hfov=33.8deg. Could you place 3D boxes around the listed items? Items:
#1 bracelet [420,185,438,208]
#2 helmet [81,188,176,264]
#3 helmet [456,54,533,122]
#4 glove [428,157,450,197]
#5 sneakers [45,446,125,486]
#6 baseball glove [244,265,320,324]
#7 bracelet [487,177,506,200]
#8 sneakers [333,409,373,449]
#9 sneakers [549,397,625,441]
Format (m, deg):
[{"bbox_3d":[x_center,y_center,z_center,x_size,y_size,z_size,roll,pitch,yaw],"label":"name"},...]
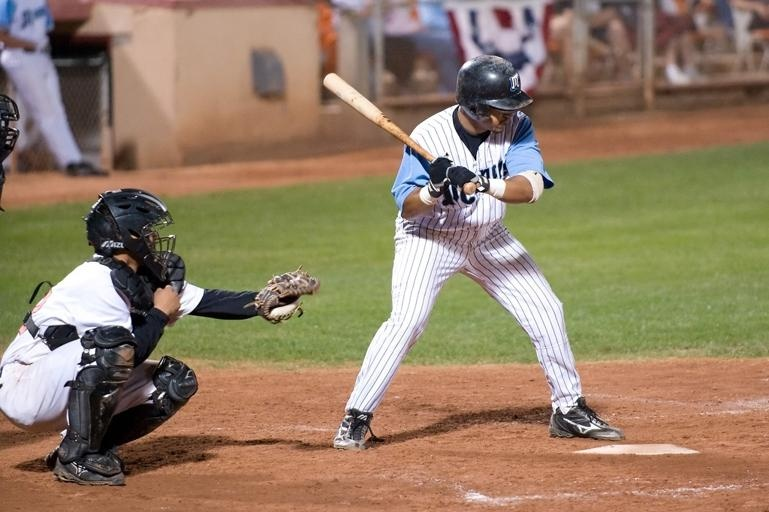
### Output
[{"bbox_3d":[0.267,-0.405,8.518,0.132,0.123,0.133,-4,-2,-31],"label":"bracelet"},{"bbox_3d":[-1.787,-0.204,8.625,0.673,0.446,0.460,1,3,-25],"label":"helmet"},{"bbox_3d":[0.767,-1.178,8.757,0.596,0.362,0.410,10,31,24],"label":"helmet"},{"bbox_3d":[0.356,-0.536,8.484,0.107,0.228,0.166,3,-2,36],"label":"glove"},{"bbox_3d":[-1.999,1.414,8.535,0.630,0.238,0.215,1,10,5],"label":"sneakers"},{"bbox_3d":[-0.681,0.278,8.726,0.343,0.488,0.191,47,-3,8],"label":"baseball glove"},{"bbox_3d":[0.745,-0.455,8.517,0.093,0.059,0.151,17,-4,-9],"label":"bracelet"},{"bbox_3d":[-0.237,1.211,8.924,0.234,0.217,0.565,4,13,13],"label":"sneakers"},{"bbox_3d":[1.432,1.157,8.941,0.539,0.221,0.184,4,8,30],"label":"sneakers"}]
